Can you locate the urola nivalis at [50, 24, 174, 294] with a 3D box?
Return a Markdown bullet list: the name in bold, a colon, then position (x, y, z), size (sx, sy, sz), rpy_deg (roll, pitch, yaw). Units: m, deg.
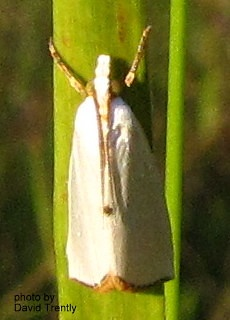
- **urola nivalis**: position (-0.009, 0.006, 1.297), size (0.237, 0.540, 0.152), rpy_deg (-6, 12, 1)
